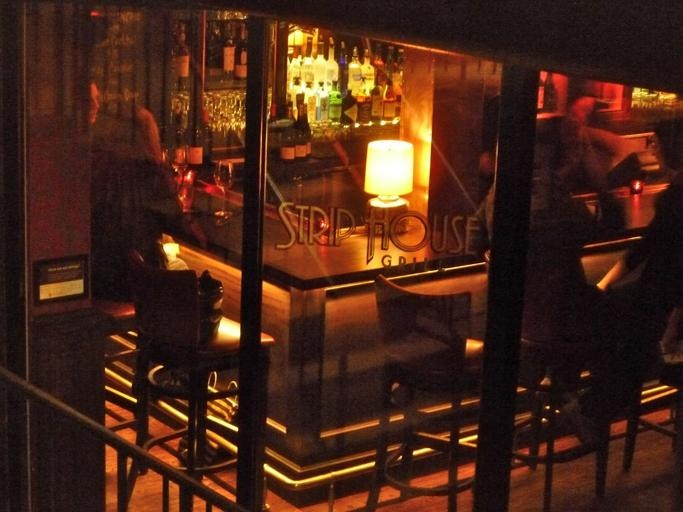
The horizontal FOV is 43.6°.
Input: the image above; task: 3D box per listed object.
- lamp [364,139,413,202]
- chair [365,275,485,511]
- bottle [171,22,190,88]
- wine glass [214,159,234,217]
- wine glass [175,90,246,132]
[{"bbox_3d":[0.202,-0.371,3.557,0.229,0.256,0.236,11,18,33],"label":"lamp"},{"bbox_3d":[0.301,0.534,3.309,0.428,0.888,0.433,3,11,20],"label":"chair"},{"bbox_3d":[-0.617,-0.786,3.311,0.089,0.244,0.027,6,12,33],"label":"bottle"},{"bbox_3d":[-0.451,-0.260,3.345,0.045,0.235,0.132,-7,12,-31],"label":"wine glass"},{"bbox_3d":[-0.451,-0.560,3.248,0.171,0.090,0.248,0,4,-1],"label":"wine glass"}]
